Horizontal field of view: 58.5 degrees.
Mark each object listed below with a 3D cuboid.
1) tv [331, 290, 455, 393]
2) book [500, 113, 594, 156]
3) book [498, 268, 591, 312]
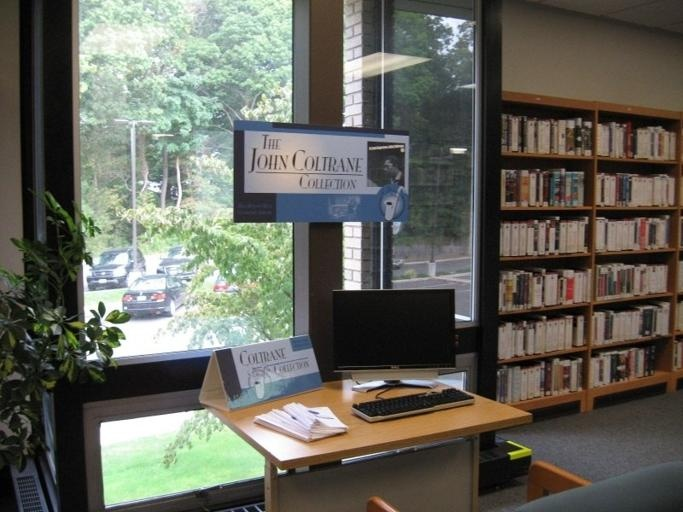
[{"bbox_3d":[0.293,0.468,3.465,0.668,0.416,0.183,0,-4,-4],"label":"tv"},{"bbox_3d":[1.714,-1.001,5.049,0.976,0.334,0.155,-5,6,-31],"label":"book"},{"bbox_3d":[1.685,0.259,5.105,0.970,0.334,0.123,-5,6,-26],"label":"book"}]
